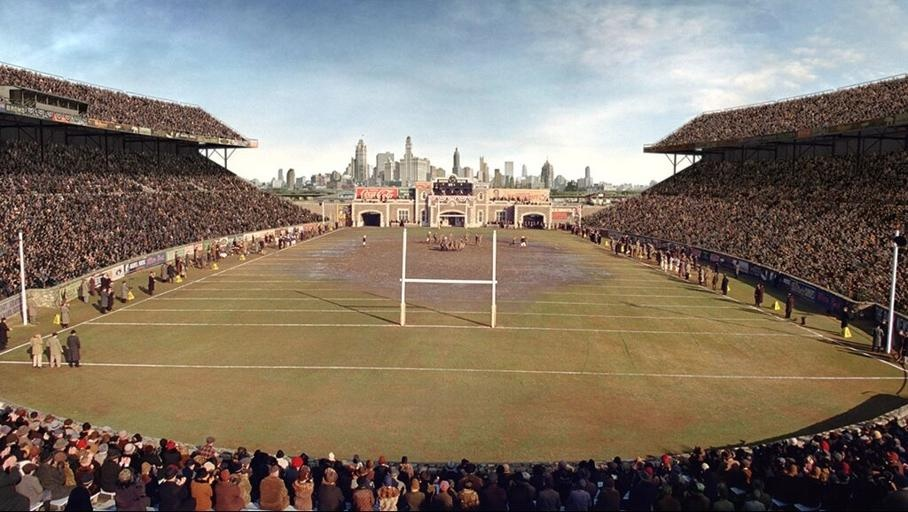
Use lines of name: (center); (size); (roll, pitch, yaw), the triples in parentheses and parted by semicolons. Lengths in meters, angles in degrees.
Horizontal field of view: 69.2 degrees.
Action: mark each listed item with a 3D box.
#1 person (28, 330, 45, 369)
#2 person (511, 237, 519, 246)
person: (-24.660, 5.593, 38.900); (0.602, 1.844, 1.089); (0, 7, -33)
person: (7.865, -1.783, 84.778); (0.768, 0.626, 1.270); (12, 10, 3)
